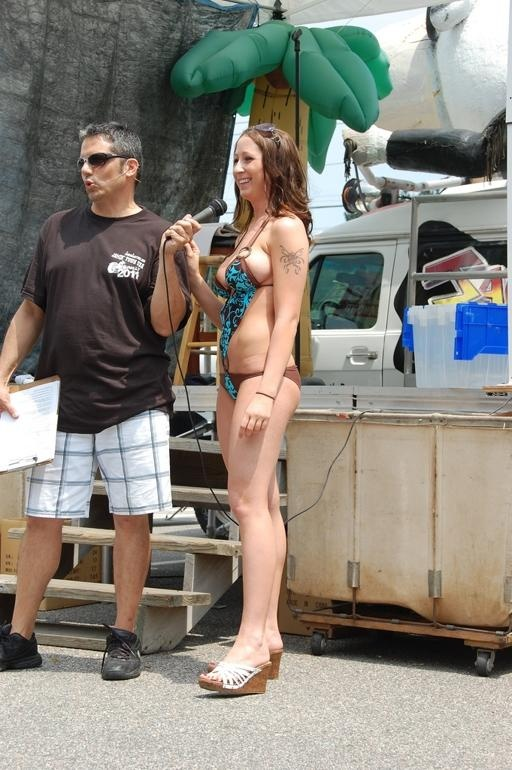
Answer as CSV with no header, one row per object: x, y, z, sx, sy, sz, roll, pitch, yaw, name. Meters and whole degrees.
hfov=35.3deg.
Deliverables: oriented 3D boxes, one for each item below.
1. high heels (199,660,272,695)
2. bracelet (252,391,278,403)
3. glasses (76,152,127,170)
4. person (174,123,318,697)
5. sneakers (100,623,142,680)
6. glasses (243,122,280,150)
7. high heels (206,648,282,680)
-0.061,0.854,2.358,0.239,0.082,0.091,14,-21,-37,high heels
0.034,0.037,2.420,0.040,0.029,0.084,-5,-11,40,bracelet
-0.512,-0.757,2.732,0.089,0.024,0.087,-8,5,-44,glasses
-0.053,0.053,2.613,0.423,1.808,0.468,2,-9,2,person
-0.445,0.889,2.680,0.121,0.154,0.150,4,-9,-9,sneakers
0.011,-0.812,2.633,0.101,0.091,0.030,-1,14,-38,glasses
-0.039,0.893,2.556,0.111,0.107,0.298,-4,-13,33,high heels
